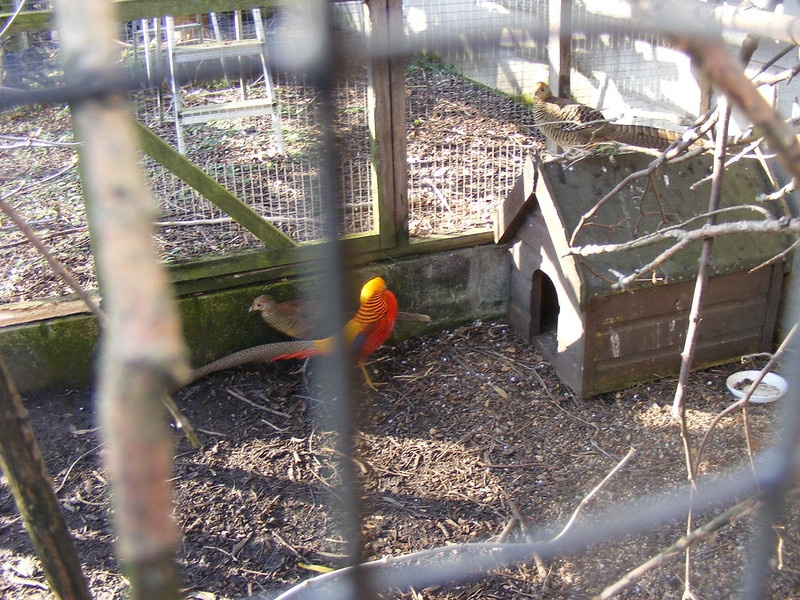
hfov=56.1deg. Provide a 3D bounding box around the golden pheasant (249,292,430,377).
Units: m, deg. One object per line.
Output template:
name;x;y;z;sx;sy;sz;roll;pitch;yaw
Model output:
golden pheasant;-0.372;0.058;4.130;0.883;0.481;0.264;-26;17;36
